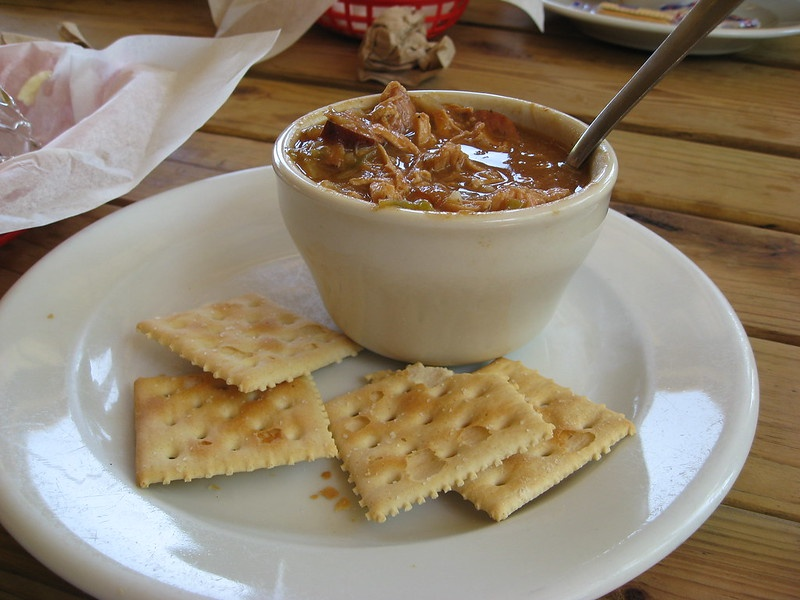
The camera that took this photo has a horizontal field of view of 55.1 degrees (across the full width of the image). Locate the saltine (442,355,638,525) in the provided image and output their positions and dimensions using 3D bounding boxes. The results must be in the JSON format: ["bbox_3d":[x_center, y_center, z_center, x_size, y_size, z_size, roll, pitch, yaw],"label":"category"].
[{"bbox_3d":[0.224,0.272,1.728,0.744,0.199,0.413,0,20,-2],"label":"saltine"}]

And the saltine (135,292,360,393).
[{"bbox_3d":[-0.356,0.083,1.836,0.385,0.027,0.330,27,37,31],"label":"saltine"}]
